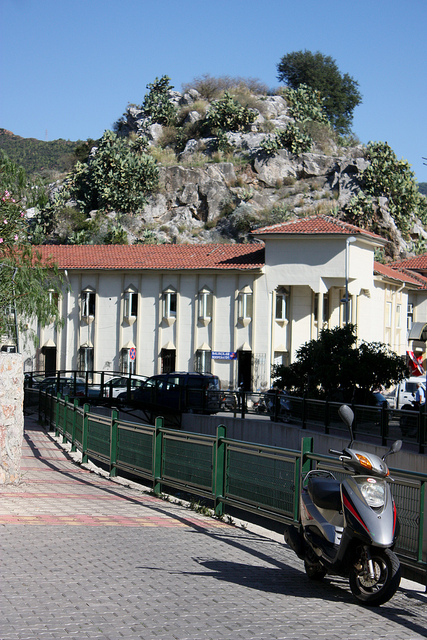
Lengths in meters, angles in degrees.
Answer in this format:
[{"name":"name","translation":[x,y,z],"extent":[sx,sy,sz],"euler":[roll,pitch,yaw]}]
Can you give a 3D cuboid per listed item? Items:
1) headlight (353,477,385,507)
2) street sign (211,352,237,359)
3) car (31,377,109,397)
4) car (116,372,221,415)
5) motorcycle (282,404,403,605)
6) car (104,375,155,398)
[{"name":"headlight","translation":[1.175,1.300,5.735],"extent":[0.213,0.195,0.178],"euler":[-1,-1,12]},{"name":"street sign","translation":[0.610,1.997,41.931],"extent":[1.437,0.393,0.227],"euler":[-1,-1,14]},{"name":"car","translation":[-5.982,2.805,33.413],"extent":[2.596,0.926,7.318],"euler":[-1,-1,-10]},{"name":"car","translation":[-1.274,3.131,29.546],"extent":[2.915,1.581,1.810],"euler":[7,-3,17]},{"name":"motorcycle","translation":[1.062,1.482,6.261],"extent":[0.547,1.463,1.521],"euler":[11,-8,-16]},{"name":"car","translation":[-3.715,2.861,34.137],"extent":[2.709,1.018,1.287],"euler":[0,-1,36]}]
